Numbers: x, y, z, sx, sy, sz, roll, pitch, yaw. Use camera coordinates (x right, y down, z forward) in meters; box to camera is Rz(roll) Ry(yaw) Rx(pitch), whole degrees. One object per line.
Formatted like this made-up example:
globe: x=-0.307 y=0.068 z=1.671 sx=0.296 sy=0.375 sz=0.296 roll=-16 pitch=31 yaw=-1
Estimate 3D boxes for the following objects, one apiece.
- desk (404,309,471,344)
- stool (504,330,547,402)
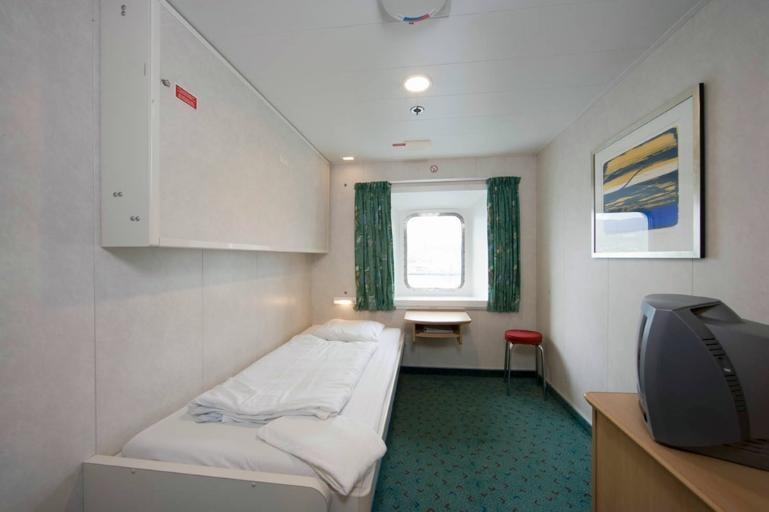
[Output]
desk: x=0.527 y=0.730 z=5.034 sx=0.672 sy=0.329 sz=0.510 roll=0 pitch=0 yaw=8
stool: x=1.380 y=1.003 z=4.916 sx=0.428 sy=0.561 sz=0.429 roll=-3 pitch=11 yaw=-2
